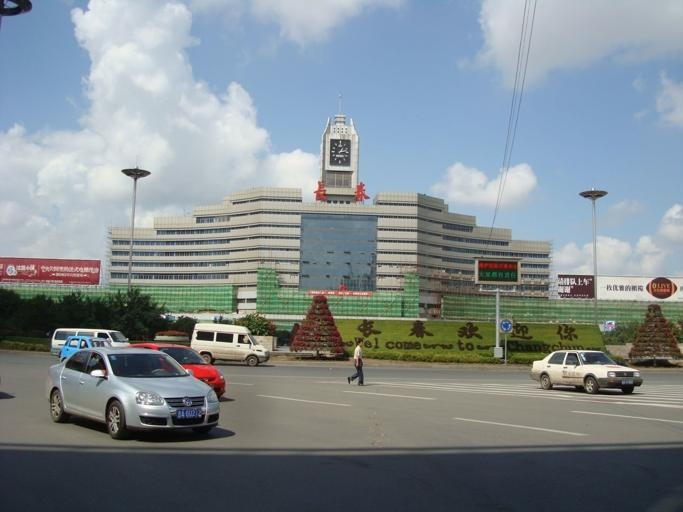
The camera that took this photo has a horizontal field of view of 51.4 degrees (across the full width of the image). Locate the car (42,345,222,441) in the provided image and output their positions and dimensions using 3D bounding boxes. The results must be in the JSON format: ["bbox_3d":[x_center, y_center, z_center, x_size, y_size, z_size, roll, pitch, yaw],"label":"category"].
[{"bbox_3d":[-5.251,3.180,16.865,1.926,1.485,4.035,10,-12,-44],"label":"car"}]

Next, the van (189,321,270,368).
[{"bbox_3d":[-6.639,5.223,41.860,3.764,2.154,2.243,-1,-4,-3],"label":"van"}]
